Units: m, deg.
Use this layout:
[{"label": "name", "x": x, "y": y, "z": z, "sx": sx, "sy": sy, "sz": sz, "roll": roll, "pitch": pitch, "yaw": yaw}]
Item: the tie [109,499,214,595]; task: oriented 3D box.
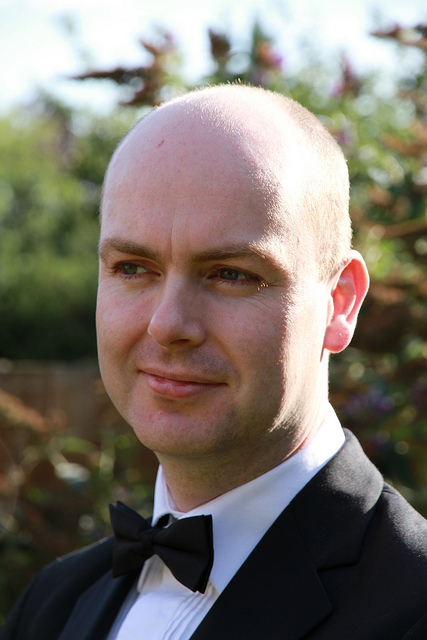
[{"label": "tie", "x": -0.187, "y": 0.721, "z": 2.260, "sx": 0.470, "sy": 0.063, "sz": 0.234, "roll": -4, "pitch": 81, "yaw": 44}]
